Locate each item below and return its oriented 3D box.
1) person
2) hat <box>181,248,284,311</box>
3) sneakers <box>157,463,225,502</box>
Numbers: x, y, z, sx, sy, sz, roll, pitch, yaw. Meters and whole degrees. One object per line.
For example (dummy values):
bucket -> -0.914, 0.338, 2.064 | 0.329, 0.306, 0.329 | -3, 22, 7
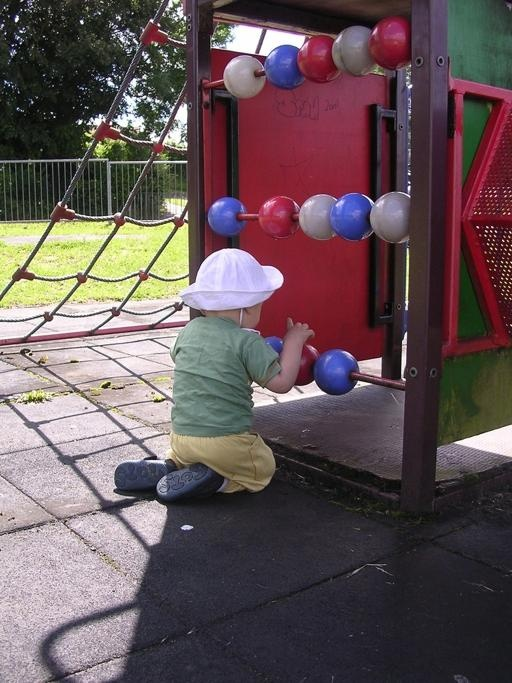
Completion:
person -> -0.159, 0.111, 2.593 | 0.920, 0.945, 0.666 | -3, 8, -9
hat -> -0.123, -0.272, 2.591 | 0.446, 0.183, 0.509 | 2, 5, 11
sneakers -> -0.241, 0.522, 2.411 | 0.233, 0.076, 0.131 | -9, 17, -3
